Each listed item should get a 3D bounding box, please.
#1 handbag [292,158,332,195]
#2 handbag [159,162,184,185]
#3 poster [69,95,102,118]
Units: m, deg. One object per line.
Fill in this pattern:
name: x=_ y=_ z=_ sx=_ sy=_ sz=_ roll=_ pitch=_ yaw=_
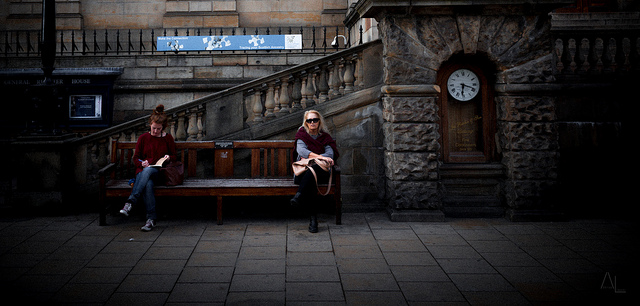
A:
handbag: x=-0.197 y=0.663 z=16.394 sx=1.108 sy=1.040 sz=0.374 roll=-1 pitch=9 yaw=-3
handbag: x=-4.318 y=0.607 z=16.568 sx=0.746 sy=0.590 sz=0.372 roll=-2 pitch=-7 yaw=-34
poster: x=-8.602 y=-1.714 z=21.151 sx=1.562 sy=0.926 sz=0.207 roll=2 pitch=3 yaw=20
